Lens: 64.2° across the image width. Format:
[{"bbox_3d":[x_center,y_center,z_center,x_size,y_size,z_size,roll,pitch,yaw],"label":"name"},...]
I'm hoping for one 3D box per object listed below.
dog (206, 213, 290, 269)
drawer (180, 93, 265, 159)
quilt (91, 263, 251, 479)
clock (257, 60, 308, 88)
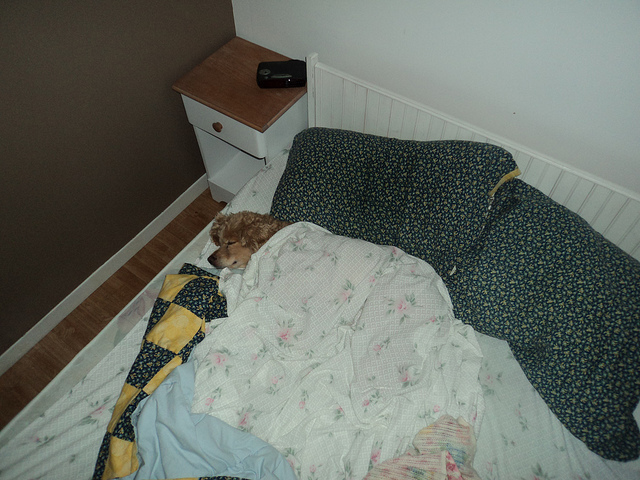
[{"bbox_3d":[-0.354,0.021,2.466,0.302,0.163,0.256,-31,24,-36],"label":"dog"},{"bbox_3d":[-0.521,-0.616,2.805,0.444,0.170,0.358,28,48,8],"label":"drawer"},{"bbox_3d":[-0.616,0.545,2.072,0.138,0.491,0.870,8,74,45],"label":"quilt"},{"bbox_3d":[-0.205,-0.912,2.786,0.216,0.071,0.152,-1,66,0],"label":"clock"}]
